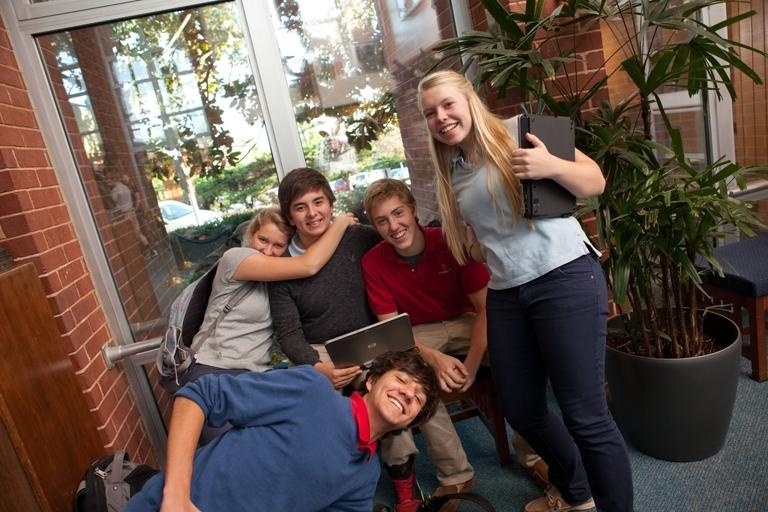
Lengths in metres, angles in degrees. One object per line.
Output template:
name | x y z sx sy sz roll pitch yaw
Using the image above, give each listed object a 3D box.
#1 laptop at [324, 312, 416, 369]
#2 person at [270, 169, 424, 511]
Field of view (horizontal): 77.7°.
laptop | -0.068 0.450 2.567 0.412 0.294 0.282 -15 -22 -3
person | -0.268 0.137 2.560 0.763 1.196 0.920 -11 9 5
